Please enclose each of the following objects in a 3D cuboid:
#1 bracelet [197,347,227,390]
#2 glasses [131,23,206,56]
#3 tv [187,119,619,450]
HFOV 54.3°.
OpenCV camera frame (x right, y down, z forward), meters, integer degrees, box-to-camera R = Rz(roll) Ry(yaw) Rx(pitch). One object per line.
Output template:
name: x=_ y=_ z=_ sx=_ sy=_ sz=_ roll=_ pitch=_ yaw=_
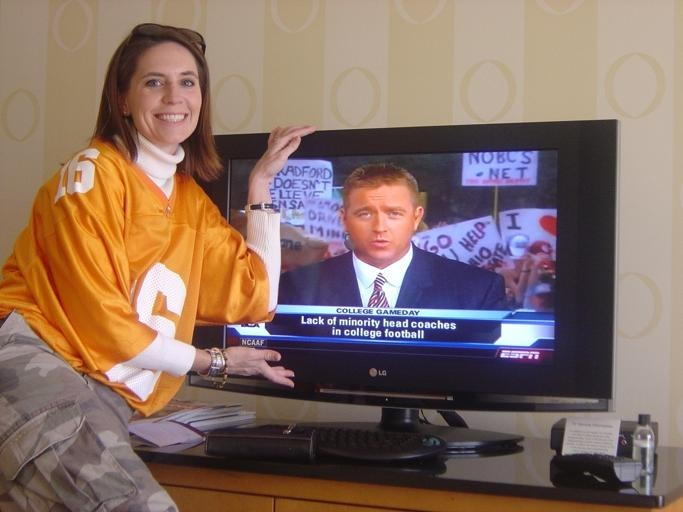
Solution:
bracelet: x=-0.395 y=0.373 z=2.106 sx=0.056 sy=0.162 sz=0.116 roll=3 pitch=9 yaw=-11
glasses: x=-0.539 y=-0.680 z=2.087 sx=0.156 sy=0.052 sz=0.123 roll=13 pitch=-9 yaw=-6
tv: x=0.227 y=0.088 z=2.214 sx=1.047 sy=0.768 sz=0.324 roll=1 pitch=-4 yaw=16
